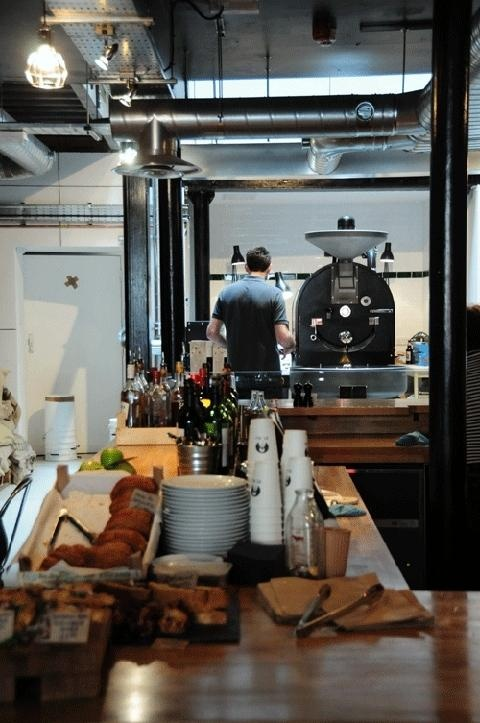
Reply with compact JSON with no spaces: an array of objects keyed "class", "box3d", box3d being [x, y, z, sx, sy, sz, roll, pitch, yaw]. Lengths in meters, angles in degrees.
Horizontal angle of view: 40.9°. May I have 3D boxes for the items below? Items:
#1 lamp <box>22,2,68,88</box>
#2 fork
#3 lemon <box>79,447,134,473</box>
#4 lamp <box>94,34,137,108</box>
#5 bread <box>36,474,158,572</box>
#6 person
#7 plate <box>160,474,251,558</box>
[{"class":"lamp","box3d":[-1.074,-1.749,3.520,0.207,0.426,0.482,-3,6,-16]},{"class":"fork","box3d":[0.155,0.389,1.039,0.055,0.025,0.149,3,4,30]},{"class":"lemon","box3d":[-0.414,0.316,2.027,0.133,0.064,0.088,-1,2,0]},{"class":"lamp","box3d":[-0.762,-1.855,4.013,0.324,0.574,0.158,0,7,-4]},{"class":"bread","box3d":[-0.241,0.306,1.288,0.121,0.036,0.236,0,15,3]},{"class":"person","box3d":[0.069,-0.282,4.897,0.657,1.142,0.421,-2,5,2]},{"class":"plate","box3d":[-0.073,0.333,1.398,0.146,0.120,0.155,0,-4,1]}]
